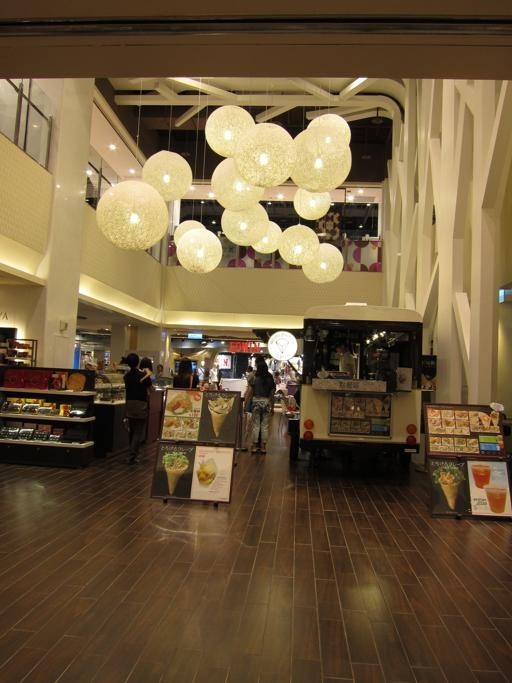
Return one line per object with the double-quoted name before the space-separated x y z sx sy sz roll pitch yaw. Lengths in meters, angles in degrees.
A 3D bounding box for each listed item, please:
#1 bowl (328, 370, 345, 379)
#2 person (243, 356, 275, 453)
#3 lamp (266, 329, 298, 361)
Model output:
"bowl" 1.328 0.555 7.276 0.260 0.098 0.478 4 -3 15
"person" 0.071 1.243 8.296 0.475 1.841 1.275 3 -3 1
"lamp" 0.630 0.105 10.636 0.625 0.672 0.474 3 -3 12
